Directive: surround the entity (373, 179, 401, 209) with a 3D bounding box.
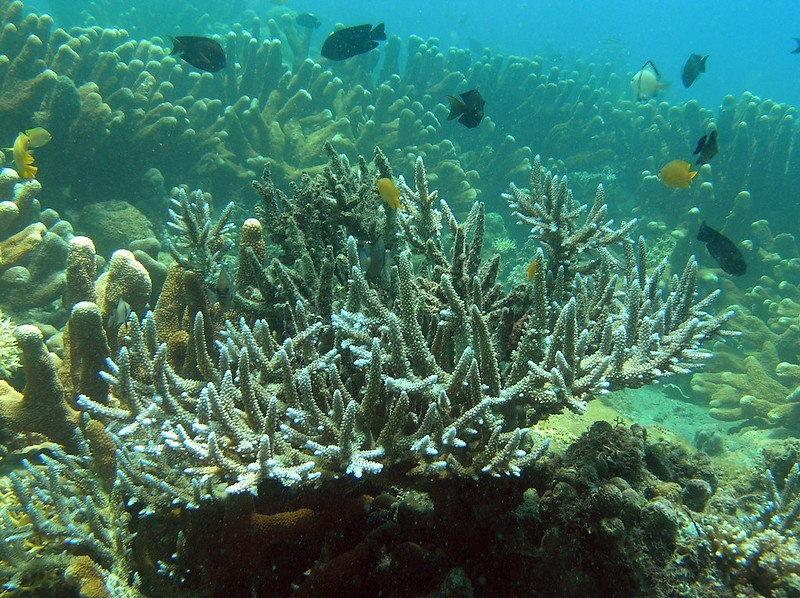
[{"bbox_3d":[-0.218,-1.774,15.366,0.540,0.334,0.121,48,38,13],"label":"entity"}]
